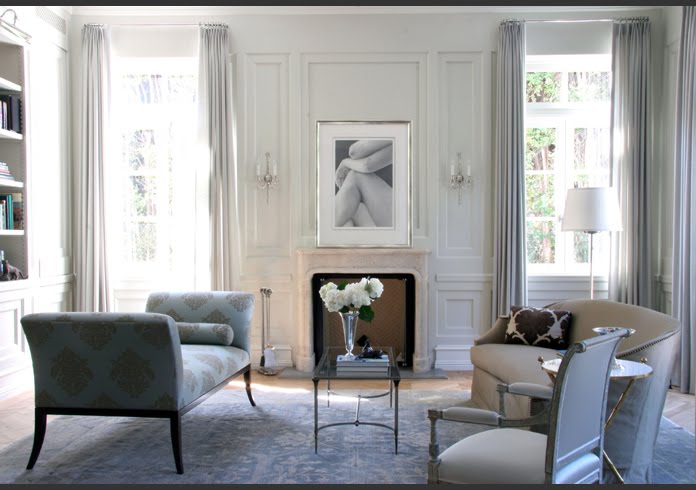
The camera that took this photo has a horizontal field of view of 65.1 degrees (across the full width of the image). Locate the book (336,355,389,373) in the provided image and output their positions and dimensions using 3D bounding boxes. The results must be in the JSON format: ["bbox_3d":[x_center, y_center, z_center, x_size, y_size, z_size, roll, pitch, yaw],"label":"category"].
[{"bbox_3d":[0.114,0.928,4.204,0.412,0.083,0.113,0,5,-2],"label":"book"}]

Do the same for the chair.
[{"bbox_3d":[1.117,0.890,3.483,0.986,1.390,0.911,0,-4,40],"label":"chair"}]

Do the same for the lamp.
[{"bbox_3d":[2.544,0.007,5.696,0.537,1.218,0.889,3,6,25],"label":"lamp"}]

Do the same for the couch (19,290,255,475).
[{"bbox_3d":[-1.539,0.979,4.446,1.149,1.119,1.714,2,5,19],"label":"couch"}]

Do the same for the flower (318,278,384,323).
[{"bbox_3d":[0.025,0.483,4.642,0.524,0.363,0.584,4,12,-4],"label":"flower"}]

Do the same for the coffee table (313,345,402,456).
[{"bbox_3d":[0.086,1.273,4.674,0.646,0.579,1.168,0,0,3],"label":"coffee table"}]
